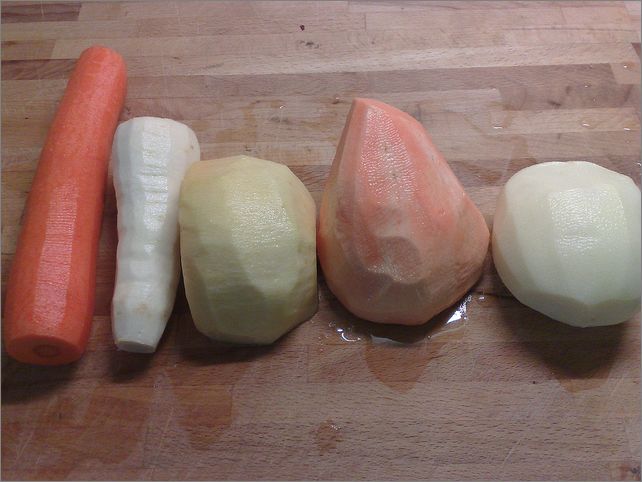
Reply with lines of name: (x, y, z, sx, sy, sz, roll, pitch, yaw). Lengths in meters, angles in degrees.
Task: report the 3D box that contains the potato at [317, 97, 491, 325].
potato: (0.203, -0.066, 1.423, 0.374, 0.340, 0.463, 6, 54, -1)
